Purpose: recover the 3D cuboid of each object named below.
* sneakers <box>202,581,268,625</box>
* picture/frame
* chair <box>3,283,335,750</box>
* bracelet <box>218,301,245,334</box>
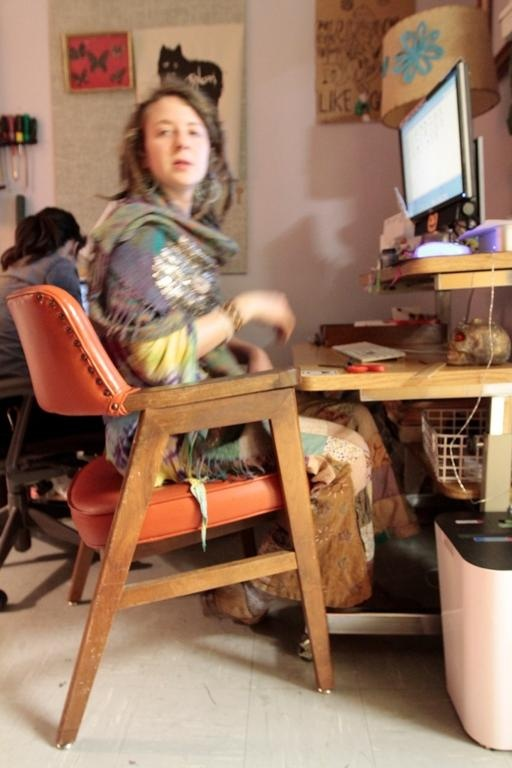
[{"bbox_3d":[-0.051,0.495,1.459,0.149,0.111,0.056,8,30,-4],"label":"sneakers"},{"bbox_3d":[-0.633,-1.303,2.491,0.278,0.215,0.029,0,5,5],"label":"picture/frame"},{"bbox_3d":[-0.146,0.111,1.516,0.747,0.967,0.697,-5,13,-14],"label":"chair"},{"bbox_3d":[-0.041,-0.120,1.132,0.020,0.051,0.041,-26,25,7],"label":"bracelet"}]
